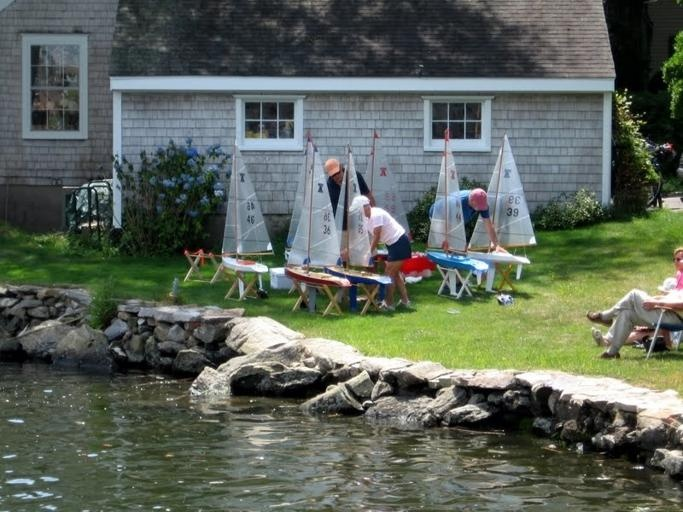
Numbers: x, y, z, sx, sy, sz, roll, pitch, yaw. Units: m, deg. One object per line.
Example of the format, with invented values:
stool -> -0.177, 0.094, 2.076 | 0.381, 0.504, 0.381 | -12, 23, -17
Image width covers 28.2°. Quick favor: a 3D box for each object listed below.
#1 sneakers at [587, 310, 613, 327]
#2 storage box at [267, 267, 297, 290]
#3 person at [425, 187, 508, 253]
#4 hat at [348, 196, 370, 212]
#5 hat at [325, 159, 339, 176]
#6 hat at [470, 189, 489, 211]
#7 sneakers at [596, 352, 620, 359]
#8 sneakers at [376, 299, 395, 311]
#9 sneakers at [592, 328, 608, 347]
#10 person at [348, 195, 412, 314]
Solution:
sneakers -> 4.693, 1.170, 24.986 | 0.512, 0.234, 0.212 | 20, 6, 7
storage box -> -1.350, 0.514, 29.621 | 0.468, 0.378, 0.489 | 0, 3, -9
person -> 2.693, -0.839, 29.306 | 0.970, 0.867, 1.768 | -24, 29, -34
hat -> 0.335, -1.045, 27.916 | 0.395, 0.322, 0.368 | 0, 1, 1
hat -> -0.200, -1.892, 28.589 | 0.245, 0.192, 0.371 | -22, 36, 20
hat -> 2.922, -1.170, 29.139 | 0.380, 0.461, 0.417 | 0, 1, 2
sneakers -> 4.845, 1.809, 24.624 | 0.349, 0.165, 0.134 | 1, -2, 15
sneakers -> 0.890, 1.050, 28.035 | 0.395, 0.184, 0.151 | 5, 4, 42
sneakers -> 4.800, 1.528, 25.284 | 0.167, 0.402, 0.166 | -18, -9, -33
person -> 0.908, -0.050, 28.210 | 1.102, 2.353, 1.292 | 0, 1, 19
